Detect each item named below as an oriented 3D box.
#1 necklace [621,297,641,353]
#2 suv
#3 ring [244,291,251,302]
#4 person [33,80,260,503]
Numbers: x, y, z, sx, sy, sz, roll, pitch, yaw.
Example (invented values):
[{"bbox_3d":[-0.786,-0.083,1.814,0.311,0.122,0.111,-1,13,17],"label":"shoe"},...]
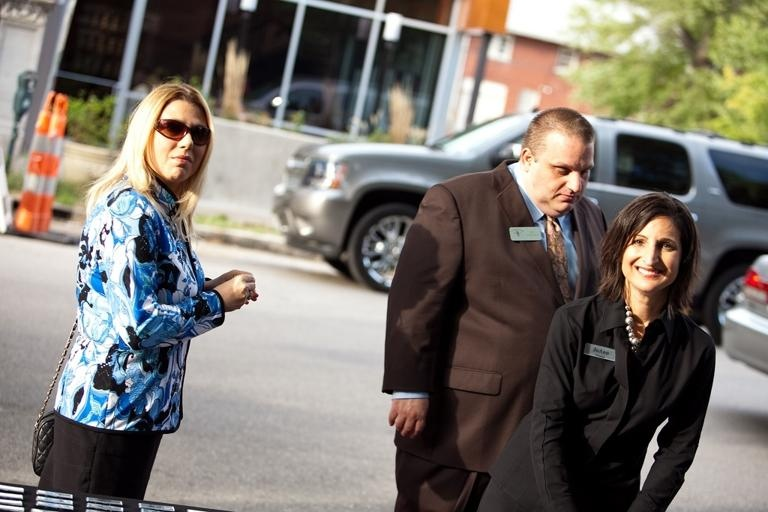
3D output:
[{"bbox_3d":[1.284,0.377,4.728,0.030,0.199,0.124,-9,5,7],"label":"necklace"},{"bbox_3d":[1.743,-0.688,12.096,5.945,2.535,2.837,6,2,-9],"label":"suv"},{"bbox_3d":[-0.735,0.225,4.942,0.015,0.051,0.050,9,-7,2],"label":"ring"},{"bbox_3d":[-1.244,0.191,4.848,0.834,2.212,0.496,8,6,-21],"label":"person"}]
